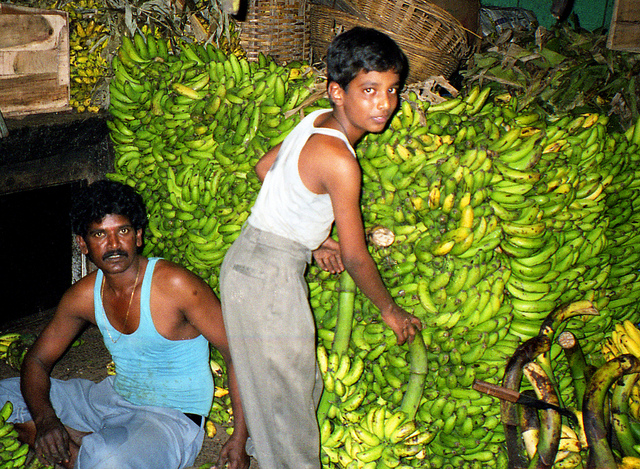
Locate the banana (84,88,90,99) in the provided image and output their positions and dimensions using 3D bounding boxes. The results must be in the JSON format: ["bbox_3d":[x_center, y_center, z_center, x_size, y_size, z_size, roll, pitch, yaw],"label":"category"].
[{"bbox_3d":[-2.076,-1.278,5.211,0.059,0.074,0.026,0,6,-41],"label":"banana"}]

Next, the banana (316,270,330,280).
[{"bbox_3d":[0.019,0.285,4.142,0.094,0.080,0.058,11,13,8],"label":"banana"}]

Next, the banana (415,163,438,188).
[{"bbox_3d":[0.684,-0.398,3.804,0.057,0.156,0.125,33,-26,-27],"label":"banana"}]

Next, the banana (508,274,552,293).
[{"bbox_3d":[1.380,0.318,3.838,0.252,0.057,0.087,6,36,4],"label":"banana"}]

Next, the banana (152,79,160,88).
[{"bbox_3d":[-1.317,-1.227,4.706,0.082,0.066,0.026,18,16,36],"label":"banana"}]

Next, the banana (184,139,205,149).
[{"bbox_3d":[-0.956,-0.698,4.460,0.168,0.083,0.033,11,13,11],"label":"banana"}]

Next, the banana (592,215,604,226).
[{"bbox_3d":[1.931,-0.120,4.081,0.032,0.048,0.140,38,47,15],"label":"banana"}]

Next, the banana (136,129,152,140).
[{"bbox_3d":[-1.450,-0.835,4.816,0.110,0.066,0.034,10,-19,35],"label":"banana"}]

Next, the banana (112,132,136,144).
[{"bbox_3d":[-1.649,-0.832,4.954,0.156,0.047,0.101,9,23,19],"label":"banana"}]

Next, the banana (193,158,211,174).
[{"bbox_3d":[-0.901,-0.524,4.476,0.054,0.186,0.055,15,44,-53],"label":"banana"}]

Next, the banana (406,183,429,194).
[{"bbox_3d":[0.642,-0.309,3.822,0.166,0.057,0.044,14,3,14],"label":"banana"}]

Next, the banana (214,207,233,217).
[{"bbox_3d":[-0.719,-0.175,4.321,0.192,0.066,0.051,-3,44,15],"label":"banana"}]

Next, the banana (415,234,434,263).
[{"bbox_3d":[0.671,0.099,3.825,0.052,0.153,0.203,40,30,-30],"label":"banana"}]

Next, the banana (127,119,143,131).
[{"bbox_3d":[-1.537,-0.918,4.854,0.059,0.110,0.166,-4,18,-45],"label":"banana"}]

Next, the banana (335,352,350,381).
[{"bbox_3d":[0.154,0.889,3.935,0.062,0.170,0.090,15,14,26],"label":"banana"}]

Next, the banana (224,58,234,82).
[{"bbox_3d":[-0.691,-1.279,4.470,0.054,0.195,0.065,-2,-2,5],"label":"banana"}]

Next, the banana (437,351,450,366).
[{"bbox_3d":[0.810,0.816,3.847,0.048,0.081,0.064,49,26,24],"label":"banana"}]

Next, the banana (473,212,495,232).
[{"bbox_3d":[1.054,-0.085,3.741,0.132,0.125,0.050,-1,16,-36],"label":"banana"}]

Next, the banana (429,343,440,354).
[{"bbox_3d":[0.751,0.750,3.855,0.054,0.039,0.071,21,-25,-21],"label":"banana"}]

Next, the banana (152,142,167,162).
[{"bbox_3d":[-1.295,-0.673,4.689,0.163,0.159,0.063,16,14,29],"label":"banana"}]

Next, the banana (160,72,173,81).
[{"bbox_3d":[-1.208,-1.267,4.638,0.148,0.069,0.039,17,15,32],"label":"banana"}]

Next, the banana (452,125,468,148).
[{"bbox_3d":[0.925,-0.657,3.872,0.051,0.185,0.061,20,-4,-31],"label":"banana"}]

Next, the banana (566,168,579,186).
[{"bbox_3d":[1.685,-0.400,3.912,0.041,0.148,0.053,20,-13,-10],"label":"banana"}]

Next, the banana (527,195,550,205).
[{"bbox_3d":[1.431,-0.232,3.812,0.167,0.065,0.055,2,14,-26],"label":"banana"}]

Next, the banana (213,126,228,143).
[{"bbox_3d":[-0.747,-0.752,4.392,0.082,0.048,0.132,18,-20,12],"label":"banana"}]

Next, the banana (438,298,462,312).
[{"bbox_3d":[0.838,0.462,3.797,0.053,0.058,0.175,-14,-15,-24],"label":"banana"}]

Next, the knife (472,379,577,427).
[{"bbox_3d":[1.247,1.061,3.669,0.801,0.151,0.098,20,15,0],"label":"knife"}]

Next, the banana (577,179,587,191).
[{"bbox_3d":[1.778,-0.348,3.985,0.018,0.082,0.024,27,5,8],"label":"banana"}]

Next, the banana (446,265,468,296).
[{"bbox_3d":[0.887,0.302,3.800,0.085,0.254,0.064,21,30,12],"label":"banana"}]

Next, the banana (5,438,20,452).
[{"bbox_3d":[-1.957,1.363,3.742,0.047,0.122,0.028,-2,-42,36],"label":"banana"}]

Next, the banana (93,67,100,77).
[{"bbox_3d":[-1.994,-1.461,5.221,0.047,0.058,0.021,-29,32,-19],"label":"banana"}]

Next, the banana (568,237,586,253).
[{"bbox_3d":[1.717,0.055,3.937,0.046,0.177,0.059,25,-27,18],"label":"banana"}]

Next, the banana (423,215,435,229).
[{"bbox_3d":[0.708,-0.085,3.812,0.083,0.048,0.065,51,-30,-20],"label":"banana"}]

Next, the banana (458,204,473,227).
[{"bbox_3d":[0.916,-0.124,3.703,0.067,0.134,0.052,5,25,-7],"label":"banana"}]

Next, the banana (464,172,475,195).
[{"bbox_3d":[0.945,-0.329,3.696,0.041,0.138,0.046,-4,15,-4],"label":"banana"}]

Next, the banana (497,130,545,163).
[{"bbox_3d":[1.295,-0.564,3.839,0.384,0.128,0.088,-28,5,2],"label":"banana"}]

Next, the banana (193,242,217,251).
[{"bbox_3d":[-0.871,0.088,4.472,0.230,0.075,0.052,1,-40,27],"label":"banana"}]

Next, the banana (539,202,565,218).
[{"bbox_3d":[1.493,-0.167,3.822,0.191,0.115,0.070,2,15,-29],"label":"banana"}]

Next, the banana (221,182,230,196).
[{"bbox_3d":[-0.694,-0.348,4.309,0.037,0.119,0.036,34,8,19],"label":"banana"}]

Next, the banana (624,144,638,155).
[{"bbox_3d":[2.317,-0.644,4.357,0.050,0.080,0.121,18,16,34],"label":"banana"}]

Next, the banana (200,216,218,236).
[{"bbox_3d":[-0.832,-0.070,4.406,0.060,0.218,0.077,38,24,5],"label":"banana"}]

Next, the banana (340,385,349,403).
[{"bbox_3d":[0.159,1.075,3.957,0.077,0.097,0.030,-6,32,-47],"label":"banana"}]

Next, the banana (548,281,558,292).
[{"bbox_3d":[1.543,0.340,3.887,0.053,0.065,0.037,14,-2,-19],"label":"banana"}]

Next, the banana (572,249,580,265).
[{"bbox_3d":[1.713,0.147,3.917,0.072,0.090,0.027,-20,23,-37],"label":"banana"}]

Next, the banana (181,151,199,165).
[{"bbox_3d":[-0.999,-0.581,4.483,0.099,0.030,0.101,-19,-34,39],"label":"banana"}]

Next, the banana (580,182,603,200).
[{"bbox_3d":[1.870,-0.302,4.014,0.128,0.124,0.042,4,14,-20],"label":"banana"}]

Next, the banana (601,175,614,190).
[{"bbox_3d":[1.999,-0.374,4.088,0.031,0.115,0.038,32,-15,-1],"label":"banana"}]

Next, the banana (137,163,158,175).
[{"bbox_3d":[-1.399,-0.550,4.808,0.172,0.110,0.045,19,16,37],"label":"banana"}]

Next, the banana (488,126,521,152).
[{"bbox_3d":[1.213,-0.631,3.862,0.054,0.211,0.074,47,5,7],"label":"banana"}]

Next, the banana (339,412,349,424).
[{"bbox_3d":[0.162,1.261,3.997,0.041,0.112,0.029,-27,14,-4],"label":"banana"}]

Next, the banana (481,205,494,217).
[{"bbox_3d":[1.064,-0.155,3.757,0.074,0.043,0.056,-23,-31,-4],"label":"banana"}]

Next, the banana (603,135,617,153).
[{"bbox_3d":[2.094,-0.660,4.219,0.078,0.124,0.039,-2,7,0],"label":"banana"}]

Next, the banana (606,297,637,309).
[{"bbox_3d":[2.168,0.492,4.211,0.261,0.092,0.073,1,15,-30],"label":"banana"}]

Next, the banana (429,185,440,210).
[{"bbox_3d":[0.725,-0.241,3.747,0.046,0.148,0.044,15,31,15],"label":"banana"}]

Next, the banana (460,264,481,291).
[{"bbox_3d":[0.972,0.278,3.744,0.058,0.208,0.071,21,6,2],"label":"banana"}]

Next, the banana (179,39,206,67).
[{"bbox_3d":[-1.023,-1.457,4.707,0.263,0.170,0.068,16,14,27],"label":"banana"}]

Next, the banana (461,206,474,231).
[{"bbox_3d":[0.930,-0.105,3.695,0.067,0.146,0.054,-2,10,13],"label":"banana"}]

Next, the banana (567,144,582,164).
[{"bbox_3d":[1.751,-0.549,4.045,0.048,0.155,0.101,18,-2,-5],"label":"banana"}]
